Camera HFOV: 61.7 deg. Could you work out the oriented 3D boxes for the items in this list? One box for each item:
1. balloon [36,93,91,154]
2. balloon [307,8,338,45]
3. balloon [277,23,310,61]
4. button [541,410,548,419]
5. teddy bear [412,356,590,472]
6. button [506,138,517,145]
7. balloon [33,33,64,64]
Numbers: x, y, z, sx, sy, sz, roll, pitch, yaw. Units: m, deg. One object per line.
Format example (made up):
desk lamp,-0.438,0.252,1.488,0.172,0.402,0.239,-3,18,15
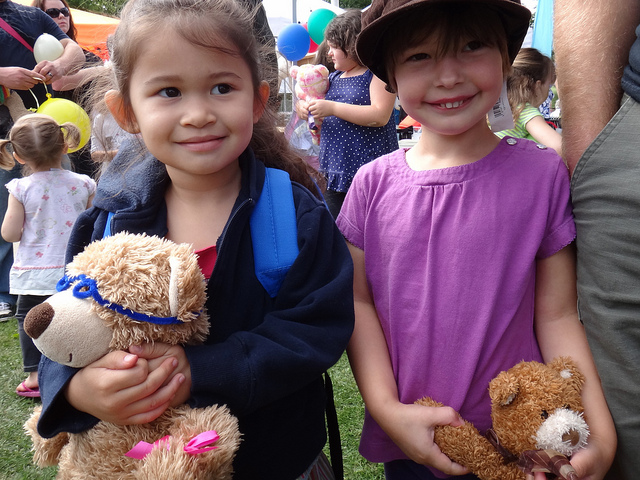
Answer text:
balloon,-1.787,-0.802,3.814,0.319,0.361,0.482,-13,28,-23
balloon,0.005,-2.307,5.794,0.287,0.374,0.425,-2,25,-1
balloon,-0.310,-2.049,5.592,0.271,0.384,0.552,7,27,17
button,0.592,0.468,1.432,0.016,0.020,0.018,-2,32,5
teddy bear,0.521,0.511,1.494,0.459,0.290,0.330,-3,26,-4
button,0.587,-0.306,1.661,0.036,0.013,0.028,-22,32,-37
balloon,-1.998,-1.427,3.986,0.207,0.198,0.192,-13,28,-24
